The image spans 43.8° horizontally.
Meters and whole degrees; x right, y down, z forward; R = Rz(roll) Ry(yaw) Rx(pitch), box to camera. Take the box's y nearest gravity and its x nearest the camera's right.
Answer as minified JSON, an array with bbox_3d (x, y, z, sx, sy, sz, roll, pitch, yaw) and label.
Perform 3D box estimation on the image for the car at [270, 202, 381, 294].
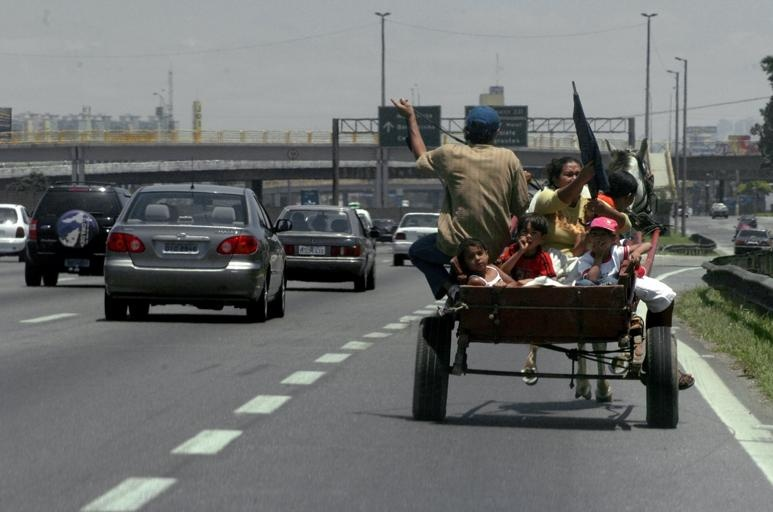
[{"bbox_3d":[-1.440,-0.272,22.530,1.610,1.763,4.350,0,1,0],"label":"car"}]

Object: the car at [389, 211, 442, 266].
[{"bbox_3d":[0.967,-0.875,37.796,1.075,1.066,2.706,-1,2,5],"label":"car"}]

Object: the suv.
[{"bbox_3d":[-7.343,-0.699,23.519,1.711,1.958,3.730,1,6,1],"label":"suv"}]

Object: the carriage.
[{"bbox_3d":[1.747,0.456,9.365,2.175,1.710,4.046,-3,8,15],"label":"carriage"}]

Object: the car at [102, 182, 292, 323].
[{"bbox_3d":[-3.019,0.046,14.956,2.784,2.357,1.749,-3,8,-16],"label":"car"}]
